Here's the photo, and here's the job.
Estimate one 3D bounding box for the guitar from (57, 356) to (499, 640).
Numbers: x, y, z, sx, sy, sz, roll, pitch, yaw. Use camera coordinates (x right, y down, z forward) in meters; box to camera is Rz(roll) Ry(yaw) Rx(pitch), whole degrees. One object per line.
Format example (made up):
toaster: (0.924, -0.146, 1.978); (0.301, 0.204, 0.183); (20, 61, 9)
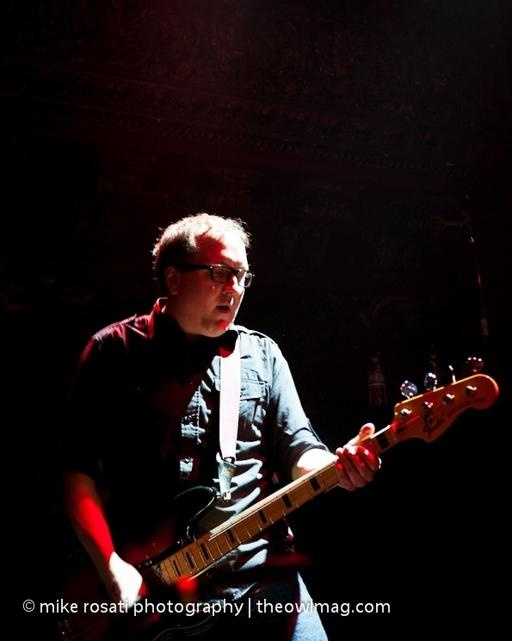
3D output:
guitar: (0.029, 0.591, 1.760); (0.888, 0.257, 0.129); (-37, -8, 1)
